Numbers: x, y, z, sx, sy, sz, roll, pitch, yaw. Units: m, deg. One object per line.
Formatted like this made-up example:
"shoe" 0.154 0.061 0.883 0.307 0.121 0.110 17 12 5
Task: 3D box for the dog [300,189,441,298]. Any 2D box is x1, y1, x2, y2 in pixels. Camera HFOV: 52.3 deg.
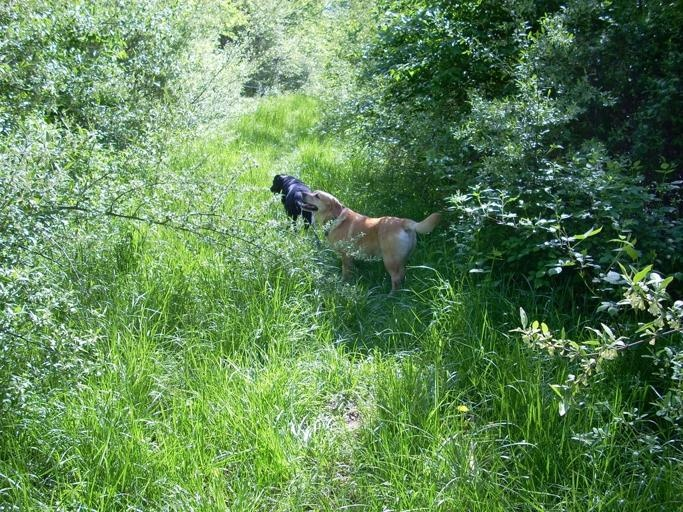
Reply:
"dog" 0.264 -0.156 6.577 1.524 0.850 0.401 11 24 42

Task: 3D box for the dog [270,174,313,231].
"dog" -0.475 -0.517 7.284 0.205 0.488 0.868 -17 -6 -19
